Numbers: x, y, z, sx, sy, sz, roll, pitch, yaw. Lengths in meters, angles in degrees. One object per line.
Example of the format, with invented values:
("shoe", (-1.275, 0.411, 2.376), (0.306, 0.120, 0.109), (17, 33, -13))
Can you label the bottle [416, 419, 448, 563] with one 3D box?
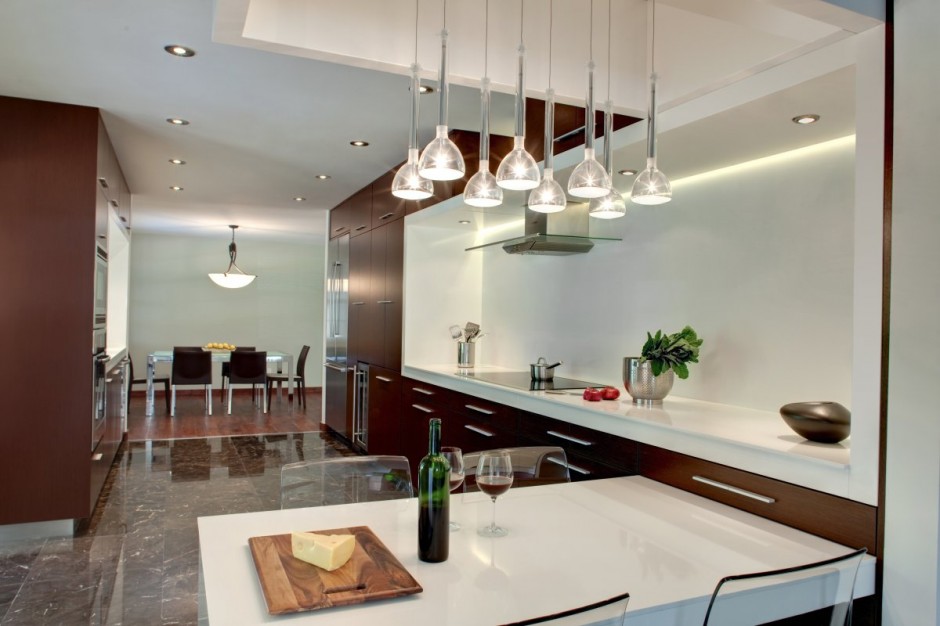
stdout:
("bottle", (-0.125, 0.604, 2.297), (0.112, 0.514, 0.169), (0, 11, -3))

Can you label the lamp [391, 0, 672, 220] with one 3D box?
("lamp", (0.213, -0.973, 2.986), (1.127, 1.067, 1.080), (-1, 11, -7))

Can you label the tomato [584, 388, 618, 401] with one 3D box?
("tomato", (0.733, 0.463, 3.675), (0.123, 0.050, 0.094), (0, -1, -17))

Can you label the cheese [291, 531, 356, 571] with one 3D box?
("cheese", (-0.480, 0.788, 2.216), (0.132, 0.058, 0.132), (0, -4, 39))

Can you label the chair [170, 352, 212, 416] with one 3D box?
("chair", (-3.988, 0.971, 9.366), (0.574, 1.031, 1.093), (-5, 12, -24))

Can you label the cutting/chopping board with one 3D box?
("cutting/chopping board", (-0.470, 0.871, 2.233), (0.499, 0.075, 0.481), (-4, 12, -22))

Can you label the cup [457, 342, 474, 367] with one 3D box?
("cup", (-0.024, 0.348, 5.308), (0.124, 0.198, 0.138), (-1, 11, -5))

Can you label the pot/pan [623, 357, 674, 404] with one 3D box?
("pot/pan", (0.972, 0.375, 3.642), (0.236, 0.203, 0.263), (1, -3, -14))

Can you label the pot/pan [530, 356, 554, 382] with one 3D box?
("pot/pan", (0.496, 0.391, 4.490), (0.155, 0.132, 0.384), (1, 11, 4))

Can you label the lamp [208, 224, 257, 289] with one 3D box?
("lamp", (-3.822, -0.856, 10.537), (0.906, 1.166, 0.922), (3, -7, -17))
